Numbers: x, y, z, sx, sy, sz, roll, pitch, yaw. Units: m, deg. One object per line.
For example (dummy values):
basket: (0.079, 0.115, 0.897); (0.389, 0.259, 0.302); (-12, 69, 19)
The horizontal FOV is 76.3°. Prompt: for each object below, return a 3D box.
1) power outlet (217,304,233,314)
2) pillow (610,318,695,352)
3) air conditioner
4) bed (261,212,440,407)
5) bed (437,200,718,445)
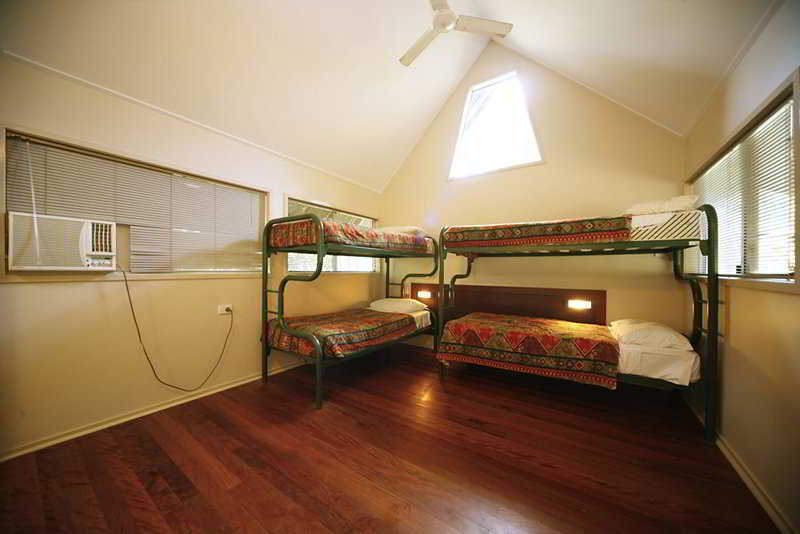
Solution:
power outlet: (-1.970, 0.473, 5.733); (0.088, 0.109, 0.167); (5, 1, 31)
pillow: (2.616, 0.703, 5.366); (0.712, 0.216, 0.569); (0, 3, 17)
air conditioner: (-3.287, -0.223, 4.904); (0.485, 0.604, 0.879); (-2, -3, 43)
bed: (-0.644, 0.396, 6.319); (1.194, 2.025, 1.961); (2, 4, 40)
bed: (2.018, 0.644, 5.541); (2.449, 2.026, 0.970); (0, 1, 33)
